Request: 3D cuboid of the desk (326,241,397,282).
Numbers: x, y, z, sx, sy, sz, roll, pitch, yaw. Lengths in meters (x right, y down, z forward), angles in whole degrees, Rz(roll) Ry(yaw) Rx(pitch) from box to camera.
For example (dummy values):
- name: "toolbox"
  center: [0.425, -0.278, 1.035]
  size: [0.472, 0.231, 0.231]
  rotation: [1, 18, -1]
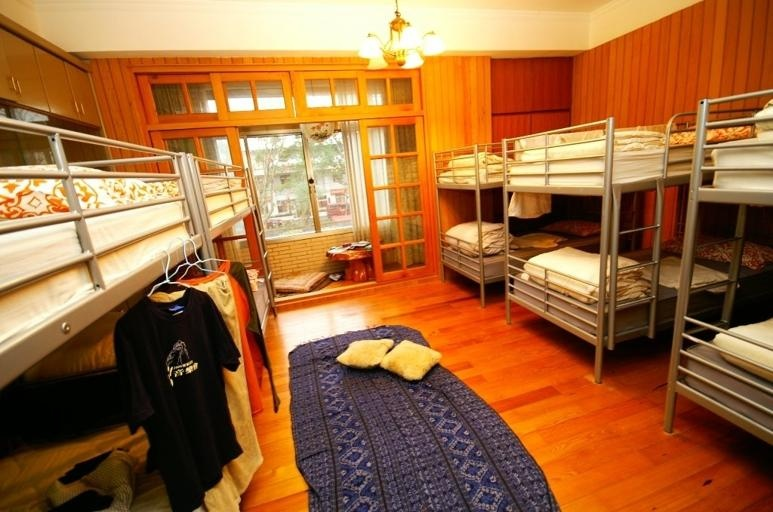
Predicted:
- name: "desk"
  center: [-0.383, 0.069, 6.225]
  size: [0.600, 0.282, 0.576]
  rotation: [-5, 11, -11]

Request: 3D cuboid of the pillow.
- name: "pillow"
  center: [0.007, 0.845, 4.253]
  size: [0.577, 0.110, 0.405]
  rotation: [6, 12, 23]
